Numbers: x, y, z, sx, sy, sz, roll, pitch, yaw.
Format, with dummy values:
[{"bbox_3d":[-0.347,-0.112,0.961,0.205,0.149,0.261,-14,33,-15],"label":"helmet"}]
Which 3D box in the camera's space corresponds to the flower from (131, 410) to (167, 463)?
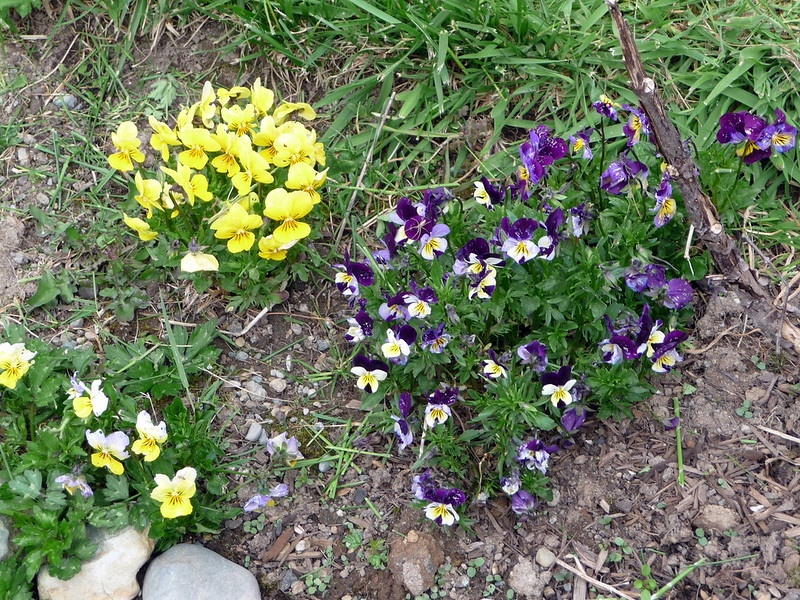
[{"bbox_3d":[-1.202,0.662,3.356,0.052,0.169,0.153,17,31,7],"label":"flower"}]
